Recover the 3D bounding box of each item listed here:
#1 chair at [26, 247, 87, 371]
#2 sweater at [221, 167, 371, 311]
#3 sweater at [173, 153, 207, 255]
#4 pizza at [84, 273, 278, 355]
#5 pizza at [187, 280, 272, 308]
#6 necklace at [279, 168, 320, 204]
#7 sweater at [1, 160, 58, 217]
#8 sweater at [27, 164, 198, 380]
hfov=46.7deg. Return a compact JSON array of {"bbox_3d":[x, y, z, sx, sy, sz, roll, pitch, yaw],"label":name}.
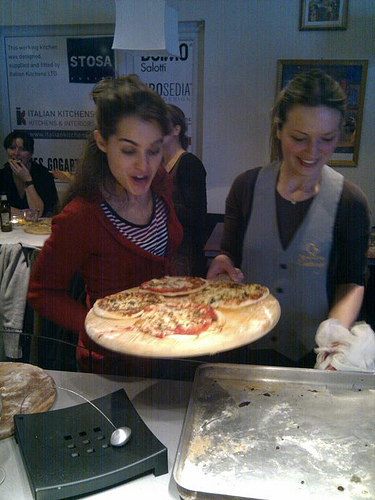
[{"bbox_3d":[-0.364,0.134,1.338,0.154,0.282,0.216,-3,-11,-7],"label":"chair"},{"bbox_3d":[0.307,-0.037,1.157,0.346,0.277,0.120,11,17,18],"label":"sweater"},{"bbox_3d":[0.010,-0.124,1.281,0.098,0.385,0.172,-4,-29,6],"label":"sweater"},{"bbox_3d":[-0.020,0.126,0.932,0.404,0.027,0.405,7,17,35],"label":"pizza"},{"bbox_3d":[0.093,0.100,0.998,0.166,0.020,0.175,7,17,34],"label":"pizza"},{"bbox_3d":[0.298,-0.168,1.154,0.104,0.088,0.011,1,15,16],"label":"necklace"},{"bbox_3d":[-0.501,-0.217,1.408,0.173,0.216,0.075,-2,35,2],"label":"sweater"},{"bbox_3d":[-0.265,-0.029,1.337,0.281,0.310,0.362,8,15,-31],"label":"sweater"}]
